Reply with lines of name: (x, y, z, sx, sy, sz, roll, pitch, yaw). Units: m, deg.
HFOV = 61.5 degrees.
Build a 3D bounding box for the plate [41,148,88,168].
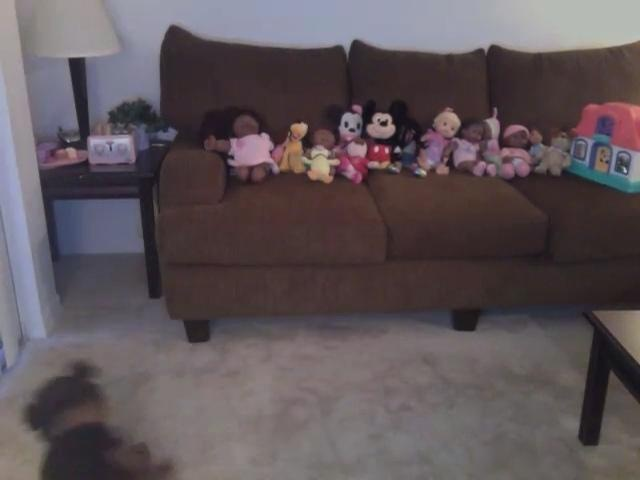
plate: (-1.166, -0.368, 2.445, 0.124, 0.041, 0.113, -9, 33, -14)
